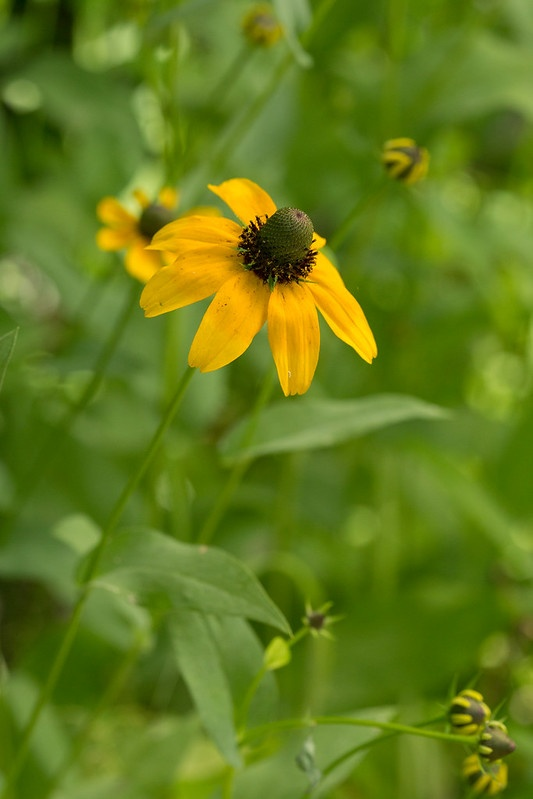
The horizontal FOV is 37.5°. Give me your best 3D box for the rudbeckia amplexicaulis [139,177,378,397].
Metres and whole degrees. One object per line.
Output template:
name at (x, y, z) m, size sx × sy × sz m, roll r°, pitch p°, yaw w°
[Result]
rudbeckia amplexicaulis at (-0.001, -0.065, 0.433) m, size 0.119 × 0.118 × 0.094 m, roll -2°, pitch 11°, yaw 7°
